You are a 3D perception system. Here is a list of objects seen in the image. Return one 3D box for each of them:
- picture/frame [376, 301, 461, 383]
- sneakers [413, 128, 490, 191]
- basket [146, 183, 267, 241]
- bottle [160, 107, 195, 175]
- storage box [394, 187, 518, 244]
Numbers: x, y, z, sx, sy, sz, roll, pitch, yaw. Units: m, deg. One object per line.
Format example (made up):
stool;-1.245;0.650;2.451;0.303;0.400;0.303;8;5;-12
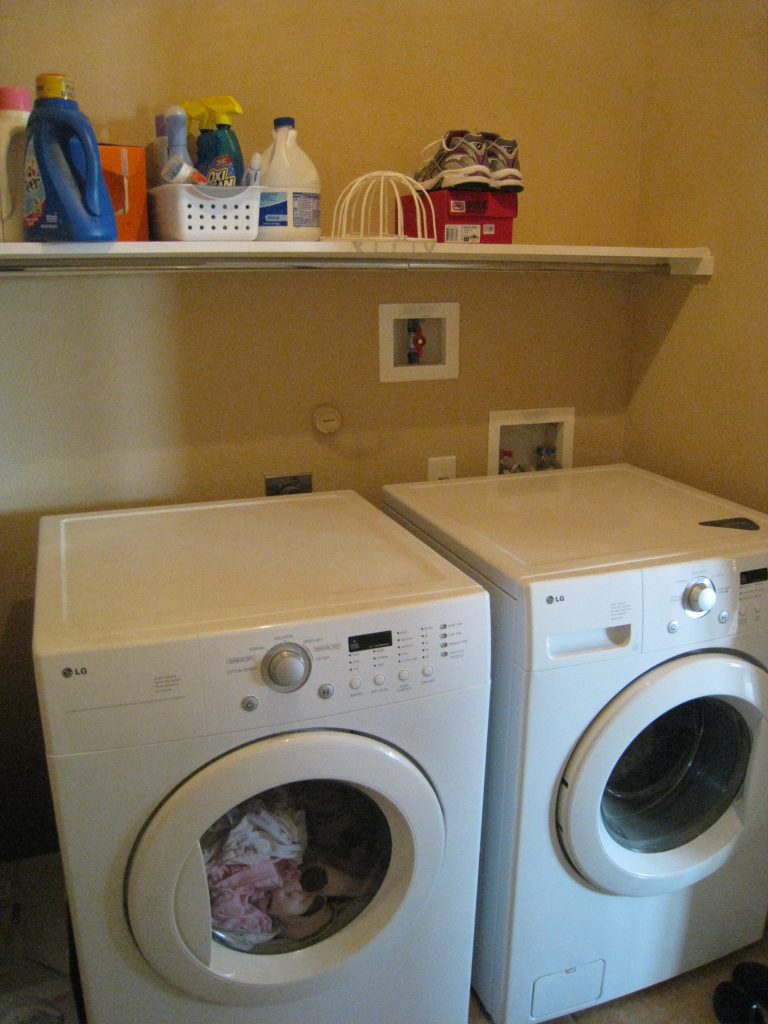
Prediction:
picture/frame;0.066;-0.376;1.796;0.170;0.149;0.018;-5;17;-18
sneakers;0.124;-0.649;1.529;0.158;0.107;0.119;3;14;11
basket;-0.288;-0.475;1.314;0.103;0.057;0.136;-8;25;-20
bottle;-0.332;-0.583;1.310;0.046;0.121;0.079;-3;14;-15
storage box;0.163;-0.546;1.527;0.164;0.096;0.072;1;13;2
